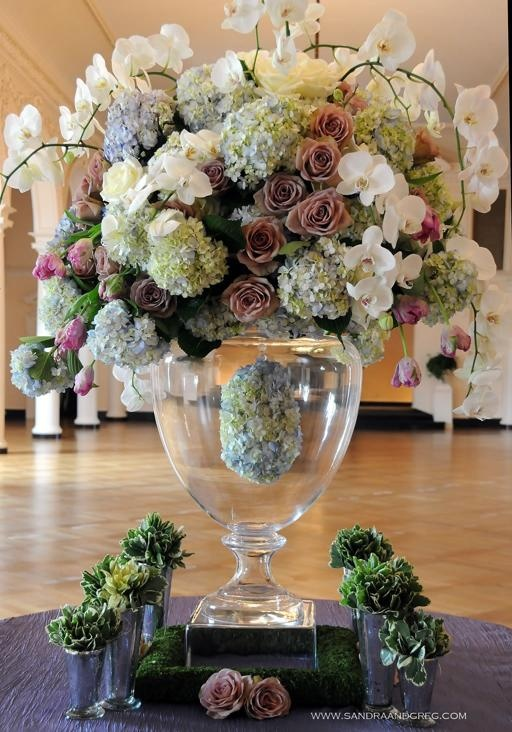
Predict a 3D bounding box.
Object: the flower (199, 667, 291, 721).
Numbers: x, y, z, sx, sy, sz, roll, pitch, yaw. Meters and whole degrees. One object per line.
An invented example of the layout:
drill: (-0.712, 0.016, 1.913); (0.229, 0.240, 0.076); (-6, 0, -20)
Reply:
flower: (-0.016, 0.463, 0.852); (0.094, 0.030, 0.069); (-4, 24, -22)

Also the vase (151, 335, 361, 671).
vase: (0.023, 0.251, 1.100); (0.393, 0.559, 0.352); (-5, -16, 21)
